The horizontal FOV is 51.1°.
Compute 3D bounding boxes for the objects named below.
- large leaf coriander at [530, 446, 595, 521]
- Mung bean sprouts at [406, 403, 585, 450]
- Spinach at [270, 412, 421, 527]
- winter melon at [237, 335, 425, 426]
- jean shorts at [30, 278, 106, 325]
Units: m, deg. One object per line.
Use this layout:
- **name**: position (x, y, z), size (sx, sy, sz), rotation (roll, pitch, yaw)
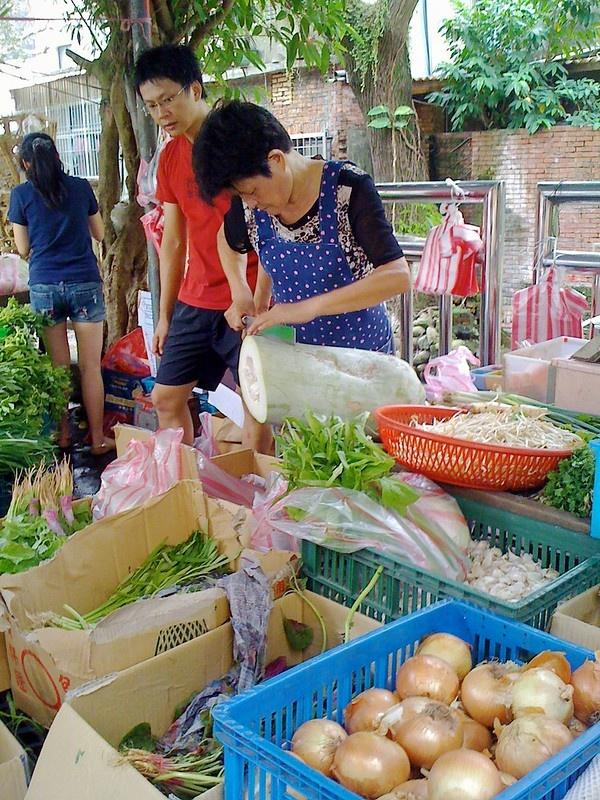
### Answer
- **large leaf coriander**: position (0.629, 0.175, 1.567), size (0.196, 0.151, 0.172), rotation (4, 17, 20)
- **Mung bean sprouts**: position (0.604, 0.074, 1.845), size (0.408, 0.065, 0.429), rotation (-13, 13, -38)
- **Spinach**: position (0.111, 0.151, 1.696), size (0.341, 0.244, 0.375), rotation (-5, 10, -1)
- **winter melon**: position (0.070, -0.113, 2.105), size (0.566, 0.300, 0.436), rotation (-8, 16, -25)
- **jean shorts**: position (-1.775, -0.749, 4.806), size (0.466, 0.326, 0.342), rotation (-3, 26, -11)
